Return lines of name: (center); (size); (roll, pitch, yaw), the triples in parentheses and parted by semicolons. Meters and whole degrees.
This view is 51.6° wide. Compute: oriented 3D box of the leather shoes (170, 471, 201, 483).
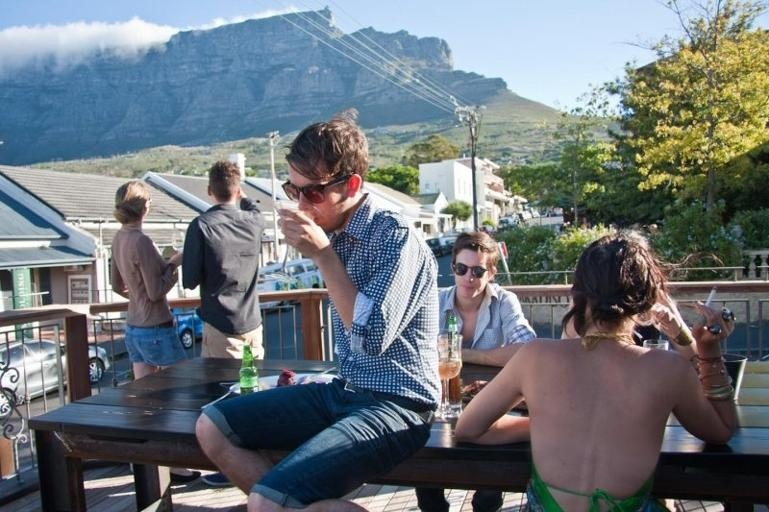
leather shoes: (-1.893, 2.086, 7.571); (0.313, 0.126, 0.095); (0, -6, -21)

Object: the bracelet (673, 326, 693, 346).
bracelet: (2.214, 0.594, 5.925); (0.131, 0.138, 0.128); (1, -16, -12)

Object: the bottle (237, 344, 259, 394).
bottle: (-1.073, 0.903, 6.266); (0.154, 0.447, 0.151); (-1, 12, 0)

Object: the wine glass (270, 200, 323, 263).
wine glass: (-0.597, -0.154, 5.848); (0.377, 0.457, 0.360); (0, 1, -9)

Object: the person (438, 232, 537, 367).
person: (0.833, 0.378, 7.036); (0.923, 1.132, 1.043); (4, -4, -44)

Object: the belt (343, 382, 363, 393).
belt: (-0.228, 0.951, 5.808); (0.106, 0.062, 0.032); (25, 2, 17)

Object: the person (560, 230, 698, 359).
person: (1.936, 0.313, 6.029); (1.440, 0.611, 0.936); (15, -19, -25)

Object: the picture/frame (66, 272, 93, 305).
picture/frame: (-9.238, 0.956, 24.073); (0.895, 1.303, 0.088); (2, -8, -8)

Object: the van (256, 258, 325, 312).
van: (-2.853, 0.811, 22.854); (1.334, 1.039, 3.006); (-4, -2, 4)
